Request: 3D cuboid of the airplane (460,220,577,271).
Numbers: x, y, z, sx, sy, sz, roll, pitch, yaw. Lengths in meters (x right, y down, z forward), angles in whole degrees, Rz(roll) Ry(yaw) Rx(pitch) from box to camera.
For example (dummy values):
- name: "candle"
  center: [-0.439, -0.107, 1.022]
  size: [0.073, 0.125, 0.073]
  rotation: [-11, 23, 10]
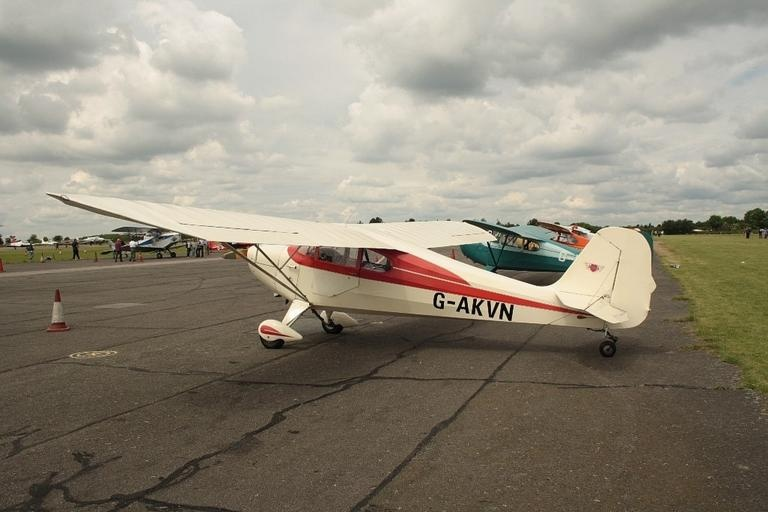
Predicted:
- name: "airplane"
  center: [5.750, -0.285, 19.462]
  size: [3.643, 1.075, 4.253]
  rotation: [13, 11, 28]
